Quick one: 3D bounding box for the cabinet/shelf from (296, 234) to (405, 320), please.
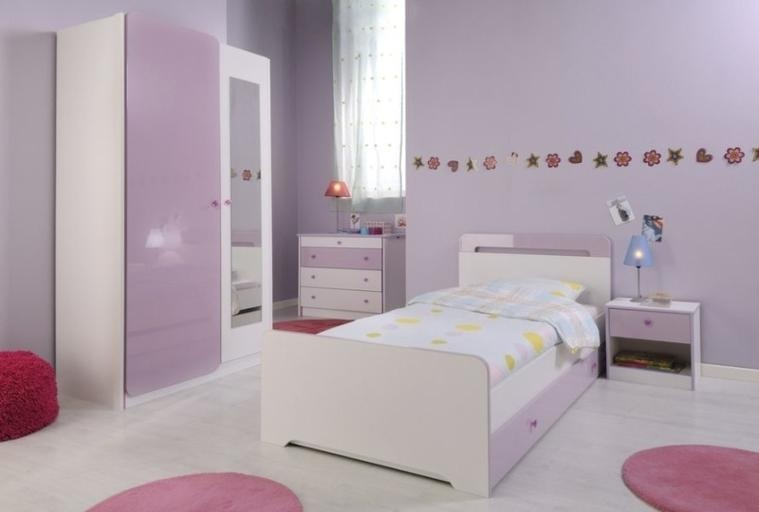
[{"bbox_3d":[-0.593,0.280,6.117,1.130,0.937,0.623,3,-9,-34],"label":"cabinet/shelf"}]

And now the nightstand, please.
[{"bbox_3d":[2.036,0.638,3.911,0.596,0.523,0.342,0,8,31],"label":"nightstand"}]

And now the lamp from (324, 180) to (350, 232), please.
[{"bbox_3d":[-0.507,-0.613,6.439,0.295,0.627,0.448,-2,12,-5],"label":"lamp"}]

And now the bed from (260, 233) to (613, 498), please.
[{"bbox_3d":[0.622,0.463,3.782,1.652,1.179,2.527,1,5,37],"label":"bed"}]

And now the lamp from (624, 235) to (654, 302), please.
[{"bbox_3d":[1.974,0.089,4.007,0.192,0.484,0.261,5,13,25],"label":"lamp"}]

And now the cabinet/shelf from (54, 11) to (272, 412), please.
[{"bbox_3d":[-1.586,-0.349,3.827,0.771,2.554,1.547,11,16,44],"label":"cabinet/shelf"}]
